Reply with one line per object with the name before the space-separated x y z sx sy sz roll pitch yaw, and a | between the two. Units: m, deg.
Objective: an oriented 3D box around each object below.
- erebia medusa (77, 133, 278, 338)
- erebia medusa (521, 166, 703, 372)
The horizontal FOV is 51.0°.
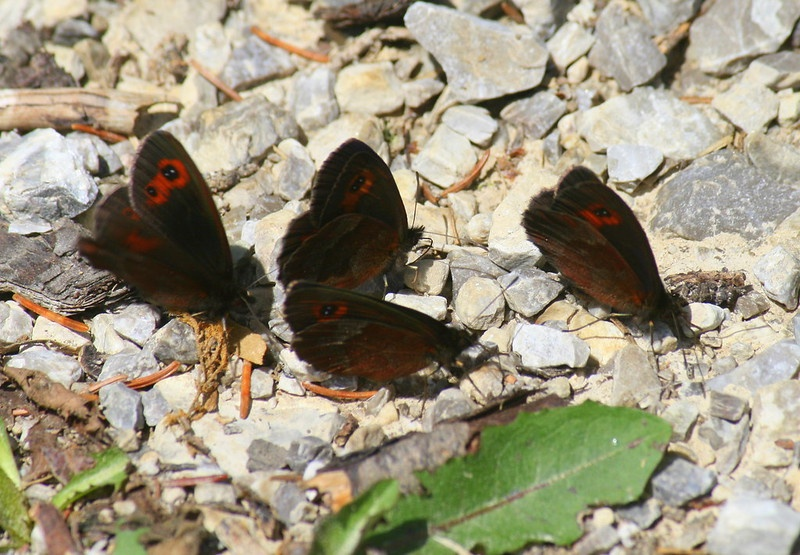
erebia medusa | -1.709 -0.290 6.043 0.811 1.339 1.478 -24 79 -3
erebia medusa | 1.623 -0.089 6.327 1.964 0.758 0.978 19 67 -17
